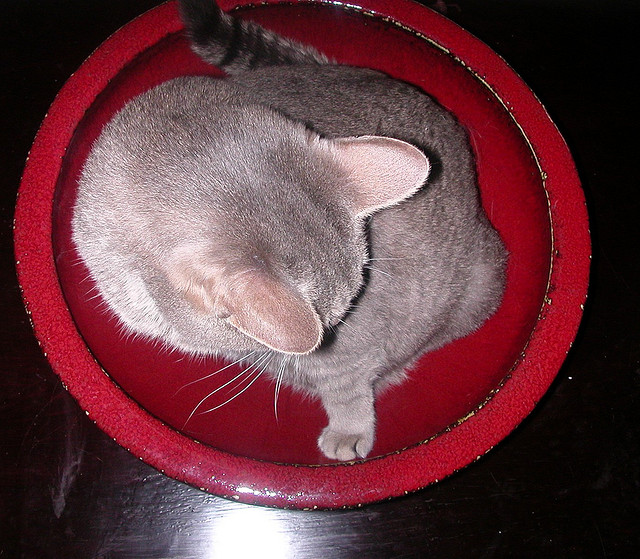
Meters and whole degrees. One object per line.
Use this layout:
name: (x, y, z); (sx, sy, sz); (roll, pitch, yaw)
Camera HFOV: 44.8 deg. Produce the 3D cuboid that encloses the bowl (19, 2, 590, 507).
bowl: (-0.027, -0.042, 1.153); (0.830, 0.177, 0.739); (12, 81, -1)
